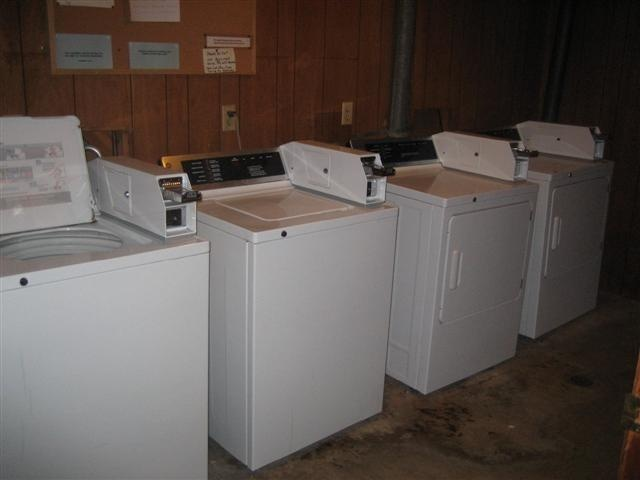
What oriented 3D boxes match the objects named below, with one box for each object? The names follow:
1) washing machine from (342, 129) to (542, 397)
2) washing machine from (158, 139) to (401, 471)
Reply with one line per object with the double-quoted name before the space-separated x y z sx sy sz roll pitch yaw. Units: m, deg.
"washing machine" 0.716 0.084 3.069 0.991 1.373 0.730 -11 20 -40
"washing machine" -0.207 0.227 2.506 0.781 1.355 0.717 -11 20 -40
